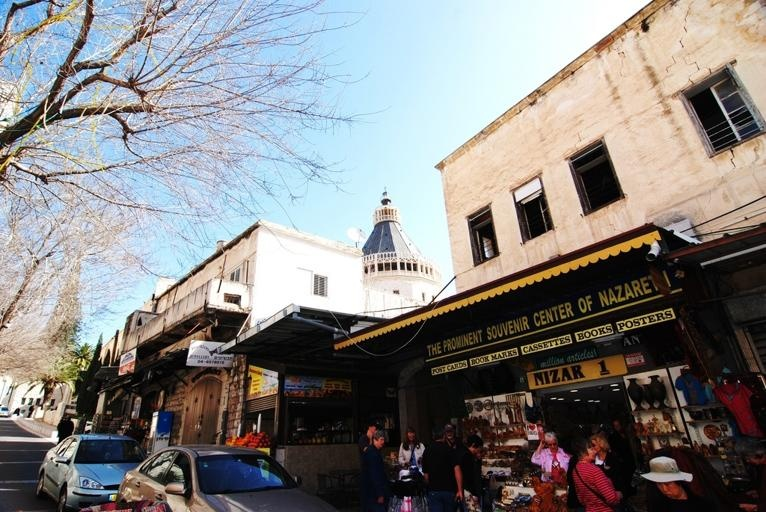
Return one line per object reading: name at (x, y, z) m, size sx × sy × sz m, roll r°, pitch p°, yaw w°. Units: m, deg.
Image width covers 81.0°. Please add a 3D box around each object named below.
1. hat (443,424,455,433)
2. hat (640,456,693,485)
hat at (1.445, 3.752, 9.757) m, size 0.186 × 0.146 × 0.264 m, roll 1°, pitch -32°, yaw 17°
hat at (4.003, 3.042, 6.384) m, size 0.463 × 0.218 × 0.458 m, roll -15°, pitch -16°, yaw 31°
